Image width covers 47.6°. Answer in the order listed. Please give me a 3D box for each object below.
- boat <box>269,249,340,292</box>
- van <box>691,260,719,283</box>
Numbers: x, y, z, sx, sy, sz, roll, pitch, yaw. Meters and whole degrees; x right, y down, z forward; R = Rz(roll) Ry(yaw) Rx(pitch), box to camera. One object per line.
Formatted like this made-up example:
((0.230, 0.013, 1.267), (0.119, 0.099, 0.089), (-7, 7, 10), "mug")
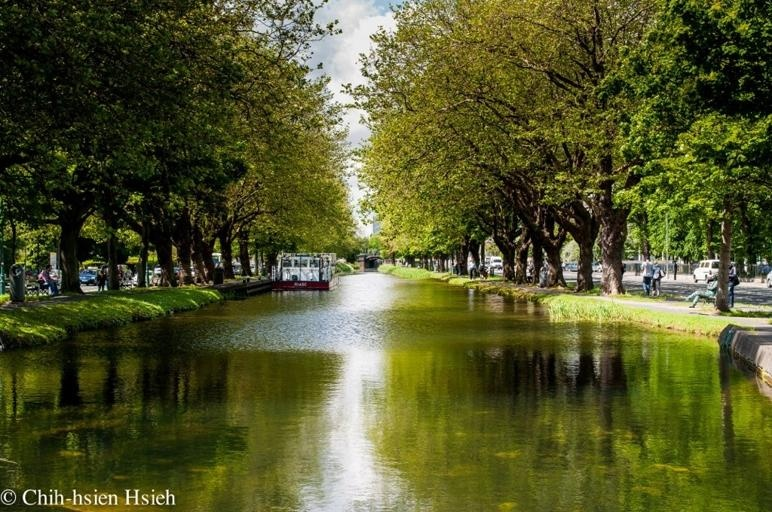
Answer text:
((-6.488, 1.216, 72.707), (3.839, 3.197, 8.155), (-2, -2, 28), "boat")
((29.072, 1.345, 79.782), (2.044, 1.785, 3.953), (1, 5, 7), "van")
